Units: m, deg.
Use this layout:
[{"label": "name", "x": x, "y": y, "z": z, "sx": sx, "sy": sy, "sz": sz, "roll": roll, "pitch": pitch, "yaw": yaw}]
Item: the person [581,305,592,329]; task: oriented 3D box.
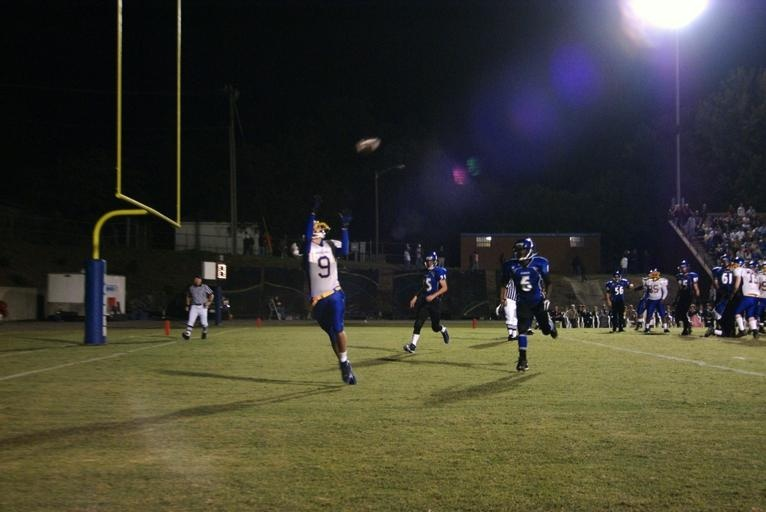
[{"label": "person", "x": 11.396, "y": 3.408, "z": 37.399, "sx": 0.488, "sy": 0.901, "sz": 2.240, "roll": 1, "pitch": 5, "yaw": 16}]

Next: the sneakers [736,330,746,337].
[{"label": "sneakers", "x": 11.233, "y": 2.426, "z": 21.057, "sx": 0.257, "sy": 0.104, "sz": 0.280, "roll": 29, "pitch": -35, "yaw": -22}]

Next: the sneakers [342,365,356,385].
[{"label": "sneakers", "x": -0.598, "y": 2.227, "z": 12.356, "sx": 0.167, "sy": 0.203, "sz": 0.460, "roll": -6, "pitch": -33, "yaw": 4}]

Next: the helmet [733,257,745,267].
[{"label": "helmet", "x": 11.494, "y": 0.194, "z": 21.719, "sx": 0.289, "sy": 0.349, "sz": 0.375, "roll": -5, "pitch": 33, "yaw": 31}]

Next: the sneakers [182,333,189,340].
[{"label": "sneakers", "x": -6.220, "y": 2.539, "z": 21.298, "sx": 0.105, "sy": 0.256, "sz": 0.181, "roll": -5, "pitch": 6, "yaw": 39}]

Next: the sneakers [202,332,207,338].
[{"label": "sneakers", "x": -5.900, "y": 2.626, "z": 22.317, "sx": 0.096, "sy": 0.200, "sz": 0.196, "roll": 13, "pitch": -56, "yaw": -32}]

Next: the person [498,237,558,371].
[{"label": "person", "x": 3.047, "y": 0.992, "z": 13.981, "sx": 1.015, "sy": 2.728, "sz": 1.439, "roll": 0, "pitch": 5, "yaw": 13}]

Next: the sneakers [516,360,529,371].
[{"label": "sneakers", "x": 2.817, "y": 2.209, "z": 13.596, "sx": 0.223, "sy": 0.262, "sz": 0.333, "roll": 0, "pitch": 5, "yaw": 7}]

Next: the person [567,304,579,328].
[{"label": "person", "x": 10.621, "y": 3.385, "z": 37.455, "sx": 0.647, "sy": 0.939, "sz": 2.273, "roll": 1, "pitch": 5, "yaw": 15}]

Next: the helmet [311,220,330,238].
[{"label": "helmet", "x": -1.144, "y": -0.503, "z": 12.485, "sx": 0.348, "sy": 0.297, "sz": 0.259, "roll": -7, "pitch": 3, "yaw": 7}]

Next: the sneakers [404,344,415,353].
[{"label": "sneakers", "x": 0.681, "y": 2.305, "z": 16.719, "sx": 0.244, "sy": 0.265, "sz": 0.439, "roll": -1, "pitch": 5, "yaw": 1}]

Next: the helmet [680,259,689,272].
[{"label": "helmet", "x": 11.451, "y": 0.367, "z": 25.481, "sx": 0.396, "sy": 0.527, "sz": 0.537, "roll": 3, "pitch": -6, "yaw": 4}]

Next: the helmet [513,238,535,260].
[{"label": "helmet", "x": 2.927, "y": -0.101, "z": 13.918, "sx": 0.411, "sy": 0.457, "sz": 0.529, "roll": -11, "pitch": -14, "yaw": 37}]

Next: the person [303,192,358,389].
[{"label": "person", "x": -1.018, "y": 0.623, "z": 12.508, "sx": 0.819, "sy": 3.407, "sz": 0.971, "roll": -1, "pitch": 5, "yaw": -8}]

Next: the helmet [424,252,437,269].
[{"label": "helmet", "x": 1.262, "y": 0.151, "z": 17.968, "sx": 0.324, "sy": 0.418, "sz": 0.436, "roll": -8, "pitch": -10, "yaw": 20}]
